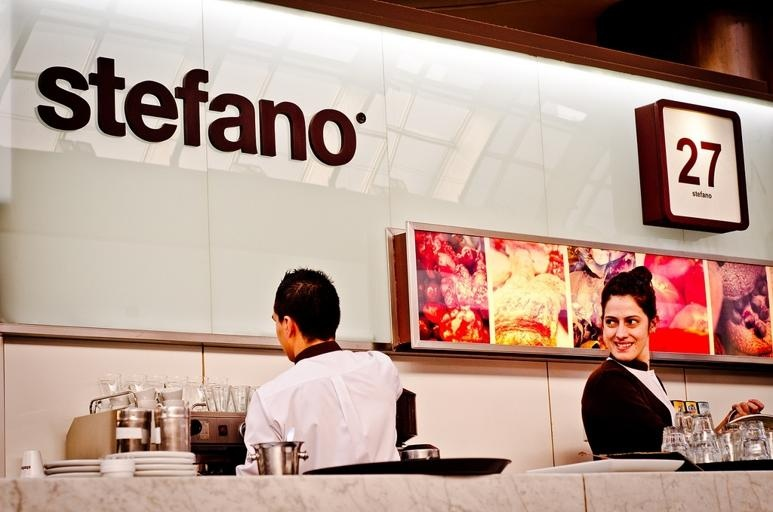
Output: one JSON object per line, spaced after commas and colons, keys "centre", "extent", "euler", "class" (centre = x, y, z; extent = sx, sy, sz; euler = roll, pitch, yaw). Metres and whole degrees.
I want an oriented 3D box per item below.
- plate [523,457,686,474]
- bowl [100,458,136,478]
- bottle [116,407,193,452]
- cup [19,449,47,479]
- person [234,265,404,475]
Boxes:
{"centre": [0.744, 0.677, 2.222], "extent": [0.465, 0.049, 0.155], "euler": [1, -12, -9], "class": "plate"}
{"centre": [-0.750, 0.592, 1.919], "extent": [0.085, 0.046, 0.070], "euler": [3, -12, -17], "class": "bowl"}
{"centre": [-0.858, 0.662, 2.627], "extent": [0.313, 0.169, 0.200], "euler": [-9, -14, 35], "class": "bottle"}
{"centre": [-1.124, 0.673, 2.204], "extent": [0.067, 0.084, 0.246], "euler": [5, -13, -26], "class": "cup"}
{"centre": [-0.315, 0.463, 3.043], "extent": [0.719, 1.175, 0.717], "euler": [1, -11, -22], "class": "person"}
